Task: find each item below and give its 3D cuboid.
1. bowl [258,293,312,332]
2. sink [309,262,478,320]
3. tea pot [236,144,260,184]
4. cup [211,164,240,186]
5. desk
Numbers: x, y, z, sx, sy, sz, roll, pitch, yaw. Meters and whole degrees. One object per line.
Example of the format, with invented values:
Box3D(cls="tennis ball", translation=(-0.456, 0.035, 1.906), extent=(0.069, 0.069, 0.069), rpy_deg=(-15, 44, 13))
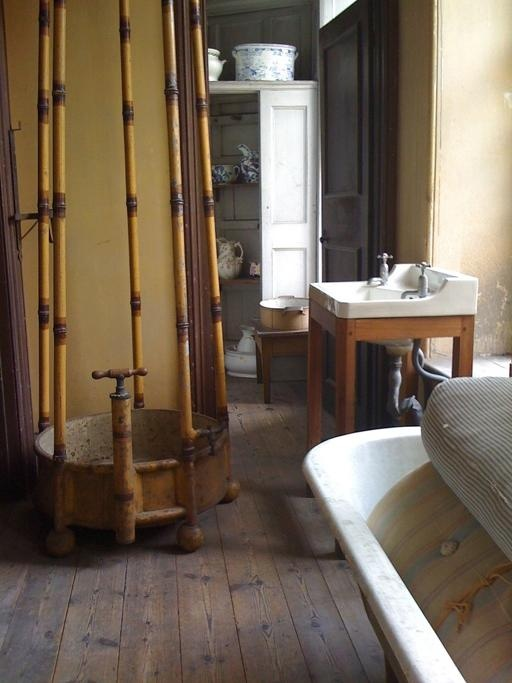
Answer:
Box3D(cls="bowl", translation=(0.190, -0.192, 3.954), extent=(0.306, 0.182, 0.412), rpy_deg=(-1, 9, 2))
Box3D(cls="sink", translation=(0.473, -0.199, 2.217), extent=(0.486, 0.155, 0.589), rpy_deg=(-1, 9, -2))
Box3D(cls="tea pot", translation=(-0.065, -1.533, 5.138), extent=(0.238, 0.384, 0.349), rpy_deg=(-2, 6, -11))
Box3D(cls="cup", translation=(-0.261, -1.419, 5.089), extent=(0.190, 0.151, 0.161), rpy_deg=(0, 10, -6))
Box3D(cls="desk", translation=(0.212, 0.063, 4.008), extent=(0.518, 0.494, 0.422), rpy_deg=(-2, 6, -16))
